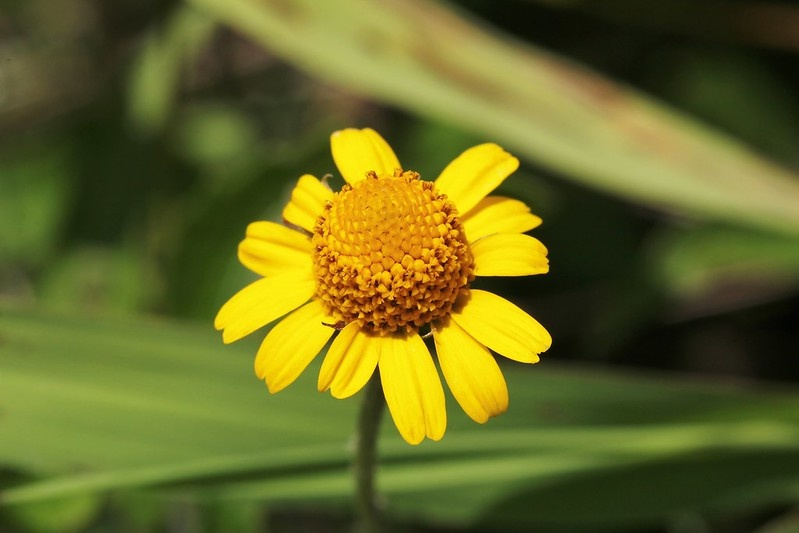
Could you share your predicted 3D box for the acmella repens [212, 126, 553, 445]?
[{"bbox_3d":[-0.018,0.056,1.587,0.707,0.712,0.286,-7,99,-8],"label":"acmella repens"}]
